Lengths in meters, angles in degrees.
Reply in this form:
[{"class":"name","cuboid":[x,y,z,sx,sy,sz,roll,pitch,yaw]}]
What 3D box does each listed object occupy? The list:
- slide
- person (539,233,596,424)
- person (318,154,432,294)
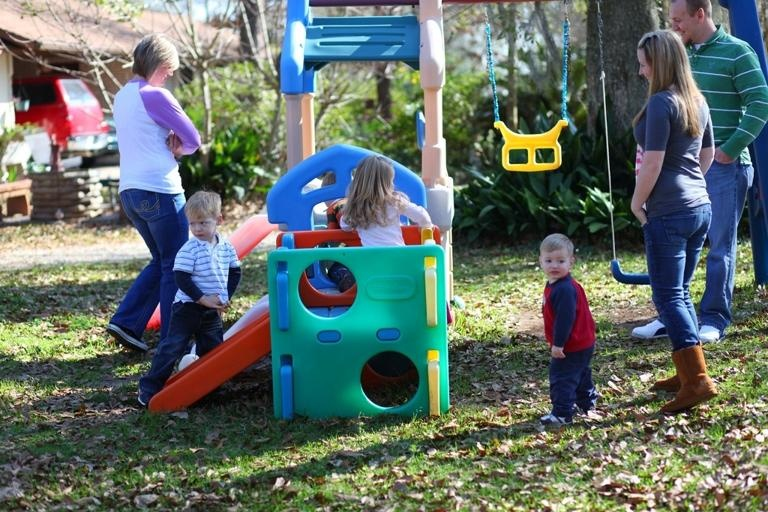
[{"class":"slide","cuboid":[-1.336,0.901,7.013,1.092,0.188,0.535,-35,3,18]},{"class":"person","cuboid":[1.333,0.541,6.518,0.401,1.390,0.334,-2,6,12]},{"class":"person","cuboid":[-0.010,-0.442,7.133,0.711,0.722,0.346,-3,5,-2]}]
